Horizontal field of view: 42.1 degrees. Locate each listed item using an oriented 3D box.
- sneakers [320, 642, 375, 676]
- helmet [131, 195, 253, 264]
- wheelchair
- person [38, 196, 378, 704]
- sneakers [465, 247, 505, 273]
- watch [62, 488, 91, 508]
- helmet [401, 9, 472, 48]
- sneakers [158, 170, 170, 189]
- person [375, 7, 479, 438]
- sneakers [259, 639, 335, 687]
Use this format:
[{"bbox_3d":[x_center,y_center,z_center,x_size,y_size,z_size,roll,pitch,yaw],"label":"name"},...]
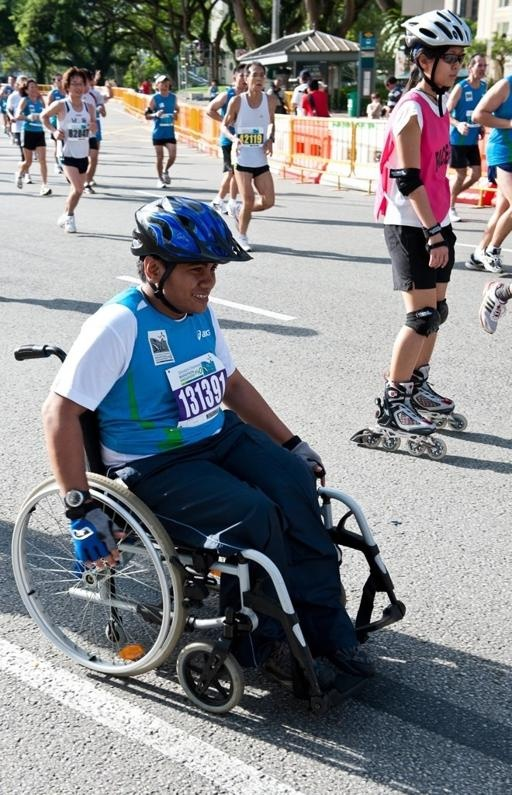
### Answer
[{"bbox_3d":[0.249,0.718,1.811,0.123,0.052,0.094,20,12,18],"label":"sneakers"},{"bbox_3d":[-0.188,-0.462,1.865,0.315,0.131,0.211,19,31,33],"label":"helmet"},{"bbox_3d":[-0.221,0.341,2.051,0.944,0.897,1.183,-6,18,-33],"label":"wheelchair"},{"bbox_3d":[-0.139,0.068,1.978,0.851,1.304,0.719,0,11,6],"label":"person"},{"bbox_3d":[2.778,-1.683,8.225,0.197,0.278,0.587,-7,24,-34],"label":"sneakers"},{"bbox_3d":[-0.468,0.261,1.747,0.068,0.041,0.063,19,-12,-42],"label":"watch"},{"bbox_3d":[0.945,-1.889,3.506,0.266,0.142,0.363,-26,44,-20],"label":"helmet"},{"bbox_3d":[-2.111,-4.997,15.373,0.192,0.242,0.561,-6,36,-16],"label":"sneakers"},{"bbox_3d":[0.915,-0.937,3.779,0.475,2.322,0.488,3,12,16],"label":"person"},{"bbox_3d":[0.084,0.724,1.868,0.087,0.107,0.261,-11,4,-37],"label":"sneakers"}]
